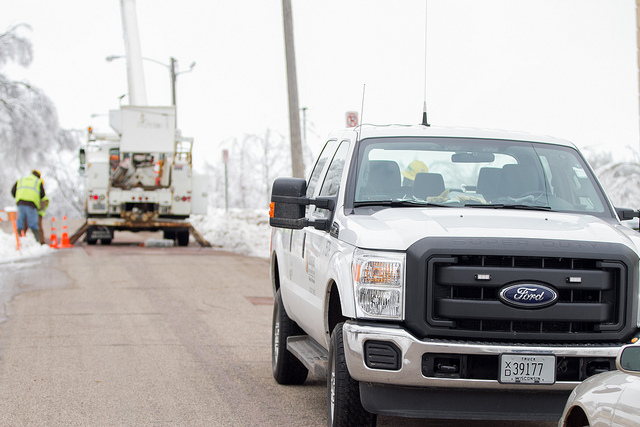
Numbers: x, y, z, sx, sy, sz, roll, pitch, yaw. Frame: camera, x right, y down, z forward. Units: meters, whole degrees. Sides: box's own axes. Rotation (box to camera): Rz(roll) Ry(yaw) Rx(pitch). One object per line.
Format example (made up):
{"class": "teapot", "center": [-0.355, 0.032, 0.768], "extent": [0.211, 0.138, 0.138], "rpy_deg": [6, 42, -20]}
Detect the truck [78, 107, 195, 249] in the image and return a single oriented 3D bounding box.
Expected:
{"class": "truck", "center": [-7.864, -1.276, 26.992], "extent": [5.402, 5.968, 8.837], "rpy_deg": [1, -3, -13]}

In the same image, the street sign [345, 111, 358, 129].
{"class": "street sign", "center": [1.091, -3.142, 18.478], "extent": [0.343, 0.546, 0.987], "rpy_deg": [2, 2, 9]}

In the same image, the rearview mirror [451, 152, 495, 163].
{"class": "rearview mirror", "center": [1.697, -0.617, 6.050], "extent": [0.511, 0.109, 0.134], "rpy_deg": [2, 2, -15]}

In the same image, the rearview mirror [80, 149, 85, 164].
{"class": "rearview mirror", "center": [-10.068, -2.435, 23.493], "extent": [0.164, 0.617, 0.340], "rpy_deg": [0, 3, -30]}

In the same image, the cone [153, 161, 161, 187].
{"class": "cone", "center": [-6.839, -1.678, 23.307], "extent": [0.212, 1.081, 0.319], "rpy_deg": [2, 3, 8]}

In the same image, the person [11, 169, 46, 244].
{"class": "person", "center": [-11.059, -0.287, 21.205], "extent": [1.015, 2.699, 0.663], "rpy_deg": [1, 3, -28]}
